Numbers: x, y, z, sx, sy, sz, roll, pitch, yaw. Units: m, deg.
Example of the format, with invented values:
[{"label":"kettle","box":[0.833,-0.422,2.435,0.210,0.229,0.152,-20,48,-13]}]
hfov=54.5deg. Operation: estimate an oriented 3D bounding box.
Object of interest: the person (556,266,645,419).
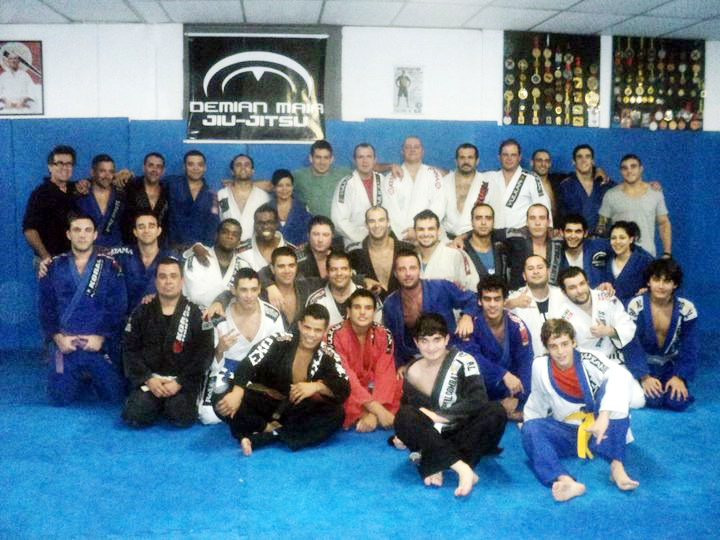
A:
[{"label":"person","box":[1.721,0.468,5.071,0.615,0.807,0.623,-14,7,28]}]

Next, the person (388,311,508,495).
[{"label":"person","box":[0.516,0.788,4.305,0.728,0.925,0.645,4,11,21]}]

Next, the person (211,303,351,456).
[{"label":"person","box":[-0.483,0.696,4.666,0.829,0.908,0.666,10,11,-19]}]

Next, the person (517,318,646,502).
[{"label":"person","box":[1.323,0.811,4.199,0.675,0.939,0.596,2,10,13]}]
